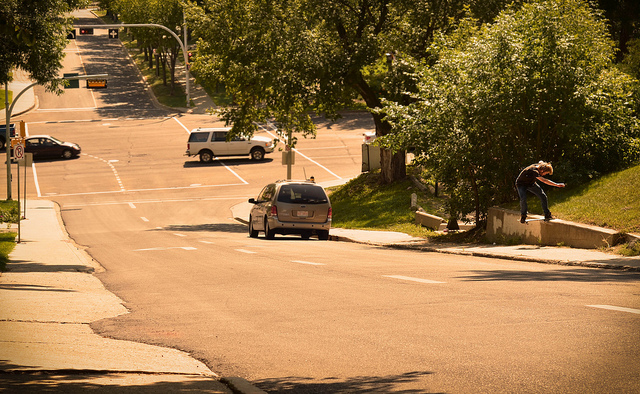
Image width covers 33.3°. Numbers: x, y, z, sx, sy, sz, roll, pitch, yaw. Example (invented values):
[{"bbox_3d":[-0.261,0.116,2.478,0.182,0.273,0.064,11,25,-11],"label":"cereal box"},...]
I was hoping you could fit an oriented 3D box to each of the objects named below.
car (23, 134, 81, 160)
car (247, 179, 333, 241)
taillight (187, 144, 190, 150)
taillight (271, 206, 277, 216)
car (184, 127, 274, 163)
[{"bbox_3d":[-19.079,-3.298,71.862,5.975,1.522,2.397,-2,7,-3],"label":"car"},{"bbox_3d":[-1.216,0.434,42.002,2.724,1.949,5.858,0,1,-14],"label":"car"},{"bbox_3d":[-8.726,-3.259,70.579,0.138,0.357,0.305,-3,9,-14],"label":"taillight"},{"bbox_3d":[-1.786,0.557,40.876,0.233,0.368,0.062,1,10,8],"label":"taillight"},{"bbox_3d":[-6.076,-3.413,71.482,5.908,1.756,2.417,-3,9,-9],"label":"car"}]
